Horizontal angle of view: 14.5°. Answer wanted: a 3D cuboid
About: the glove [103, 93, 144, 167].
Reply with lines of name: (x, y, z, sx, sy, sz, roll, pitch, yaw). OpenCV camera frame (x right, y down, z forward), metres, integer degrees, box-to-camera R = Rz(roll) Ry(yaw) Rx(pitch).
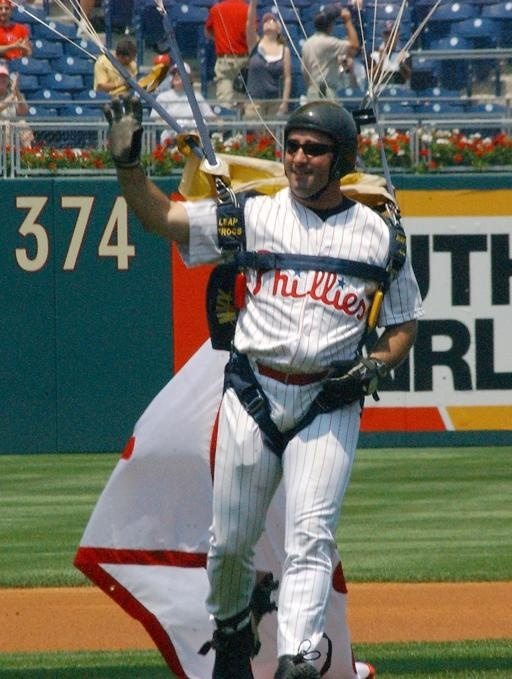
glove: (-0.628, -0.974, 9.436, 0.180, 0.344, 0.107, -1, 10, -5)

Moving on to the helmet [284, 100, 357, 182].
helmet: (0.359, -0.998, 9.606, 0.272, 0.362, 0.377, 17, 42, 28)

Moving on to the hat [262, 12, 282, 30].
hat: (0.116, -2.351, 15.106, 0.146, 0.155, 0.197, 1, 21, 2)

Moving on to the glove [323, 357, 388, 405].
glove: (0.470, 0.196, 9.510, 0.269, 0.191, 0.146, -6, -26, 23)
